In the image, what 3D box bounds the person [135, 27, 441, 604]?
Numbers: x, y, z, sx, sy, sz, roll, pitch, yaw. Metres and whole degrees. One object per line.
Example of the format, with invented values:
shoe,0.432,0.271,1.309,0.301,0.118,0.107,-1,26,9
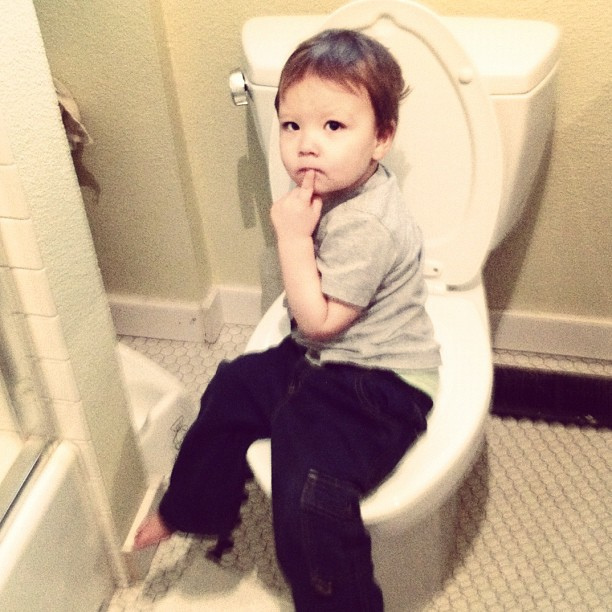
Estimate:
person,-0.030,0.045,0.812,0.420,0.722,0.404,12,37,19
